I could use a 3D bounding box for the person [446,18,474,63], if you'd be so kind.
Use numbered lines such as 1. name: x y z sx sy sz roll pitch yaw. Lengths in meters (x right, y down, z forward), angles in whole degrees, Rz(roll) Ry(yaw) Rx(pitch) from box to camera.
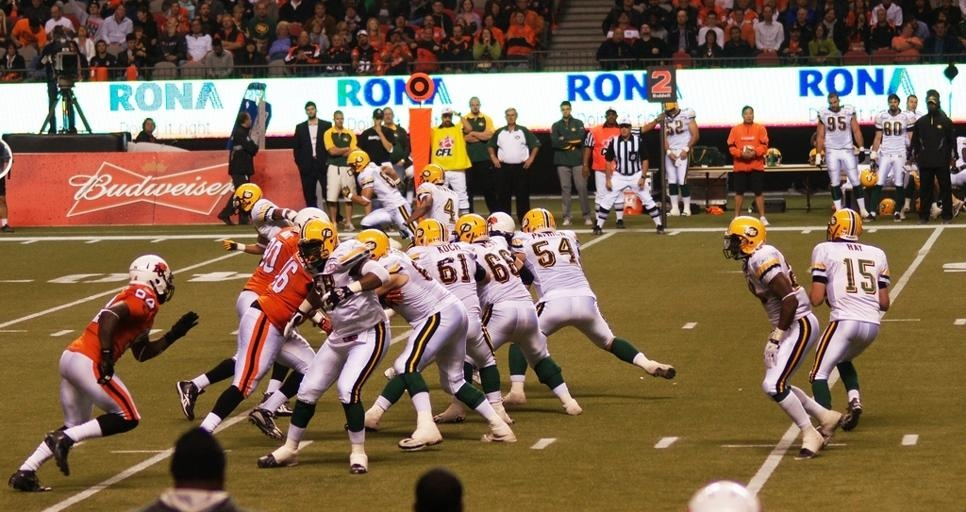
1. person: -0.672 -6.166 40.961 0.747 1.055 0.968 -3 5 -1

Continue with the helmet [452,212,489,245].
1. helmet: -0.229 -0.473 24.117 0.577 0.426 0.411 -18 10 -5

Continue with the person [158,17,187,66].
1. person: -9.068 -6.345 42.037 0.772 1.401 1.071 -5 6 -19

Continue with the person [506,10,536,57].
1. person: 1.030 -6.311 41.133 1.055 1.392 0.849 -11 23 -30

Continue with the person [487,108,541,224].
1. person: 0.728 -2.288 35.467 1.163 2.726 1.045 -3 5 1

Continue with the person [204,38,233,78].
1. person: -7.518 -5.689 40.847 0.747 1.168 1.008 -6 6 -31

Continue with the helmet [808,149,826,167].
1. helmet: 8.389 -2.541 36.228 0.347 0.411 0.426 0 -30 13

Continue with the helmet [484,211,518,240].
1. helmet: 0.326 -0.546 24.468 0.423 0.467 0.511 -5 32 -39

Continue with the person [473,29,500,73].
1. person: 0.091 -5.835 40.317 0.783 1.269 1.185 -3 5 -1

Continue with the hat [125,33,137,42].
1. hat: -10.281 -6.486 42.171 0.295 0.326 0.339 -4 14 -26

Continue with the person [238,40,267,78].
1. person: -6.596 -5.689 41.230 1.034 1.180 0.500 3 -9 -8

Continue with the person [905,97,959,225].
1. person: 10.693 -2.447 34.032 1.093 2.791 0.811 4 11 42

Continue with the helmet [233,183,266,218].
1. helmet: -4.111 -1.024 25.526 0.586 0.469 0.430 6 0 8

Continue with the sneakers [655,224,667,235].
1. sneakers: 4.322 -0.630 34.783 0.259 0.233 0.197 -10 -20 -36

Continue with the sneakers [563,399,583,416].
1. sneakers: 1.470 2.515 23.557 0.147 0.196 0.349 22 0 -24

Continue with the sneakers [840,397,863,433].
1. sneakers: 5.832 2.532 22.771 0.245 0.602 0.289 6 24 7

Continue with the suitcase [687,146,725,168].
1. suitcase: 5.966 -2.636 38.171 0.679 0.369 0.648 1 1 4

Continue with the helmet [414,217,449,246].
1. helmet: -0.923 -0.405 24.350 0.558 0.416 0.411 -9 -1 16

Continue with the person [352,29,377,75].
1. person: -3.367 -5.815 40.727 0.648 1.300 1.332 -3 5 -3

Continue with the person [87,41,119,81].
1. person: -10.938 -5.668 41.361 0.731 1.186 1.697 -4 5 -14

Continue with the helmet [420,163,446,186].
1. helmet: -1.040 -1.710 30.319 0.550 0.433 0.405 21 -2 3

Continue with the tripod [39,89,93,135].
1. tripod: -11.485 -4.057 39.680 1.263 1.411 1.036 -4 30 -27

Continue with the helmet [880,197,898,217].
1. helmet: 10.167 -1.235 36.225 0.471 0.356 0.329 12 40 19

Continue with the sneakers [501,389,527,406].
1. sneakers: 0.567 2.421 24.092 0.532 0.201 0.158 5 14 20

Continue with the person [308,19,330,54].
1. person: -4.790 -6.320 41.764 0.716 1.140 0.532 3 6 5

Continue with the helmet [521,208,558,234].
1. helmet: 0.943 -0.608 24.502 0.429 0.441 0.489 5 3 -14

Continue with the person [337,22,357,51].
1. person: -3.841 -6.439 41.656 0.382 0.804 0.645 4 26 45

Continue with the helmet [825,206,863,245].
1. helmet: 5.828 -0.527 23.187 0.492 0.472 0.605 2 10 4

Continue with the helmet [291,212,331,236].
1. helmet: -2.894 -0.622 24.078 0.636 0.451 0.527 -6 3 23

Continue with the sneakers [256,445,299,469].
1. sneakers: -3.135 3.134 22.044 0.583 0.226 0.298 0 6 -9

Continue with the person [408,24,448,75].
1. person: -1.568 -5.926 40.809 0.902 1.454 2.018 -3 5 -1

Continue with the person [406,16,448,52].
1. person: -1.546 -6.433 41.314 0.890 1.250 0.632 -12 -33 -7

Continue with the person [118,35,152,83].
1. person: -10.017 -5.808 41.424 0.928 1.440 1.895 -4 5 -13

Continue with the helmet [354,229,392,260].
1. helmet: -1.687 -0.210 22.691 0.563 0.443 0.410 -22 17 5

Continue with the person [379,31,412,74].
1. person: -2.472 -5.767 40.499 0.880 1.250 1.048 -3 5 -2

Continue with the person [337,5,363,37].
1. person: -3.826 -6.995 42.123 0.762 0.923 0.418 1 -9 0

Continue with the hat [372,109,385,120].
1. hat: -2.630 -3.588 36.225 0.290 0.203 0.412 3 -9 -12

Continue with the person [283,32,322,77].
1. person: -5.097 -5.739 40.818 1.022 1.270 0.749 0 2 -3

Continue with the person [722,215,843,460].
1. person: 4.628 1.238 22.441 1.451 3.682 1.072 2 7 42

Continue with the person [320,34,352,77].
1. person: -4.140 -5.719 40.600 0.867 1.185 1.160 -3 5 -6
